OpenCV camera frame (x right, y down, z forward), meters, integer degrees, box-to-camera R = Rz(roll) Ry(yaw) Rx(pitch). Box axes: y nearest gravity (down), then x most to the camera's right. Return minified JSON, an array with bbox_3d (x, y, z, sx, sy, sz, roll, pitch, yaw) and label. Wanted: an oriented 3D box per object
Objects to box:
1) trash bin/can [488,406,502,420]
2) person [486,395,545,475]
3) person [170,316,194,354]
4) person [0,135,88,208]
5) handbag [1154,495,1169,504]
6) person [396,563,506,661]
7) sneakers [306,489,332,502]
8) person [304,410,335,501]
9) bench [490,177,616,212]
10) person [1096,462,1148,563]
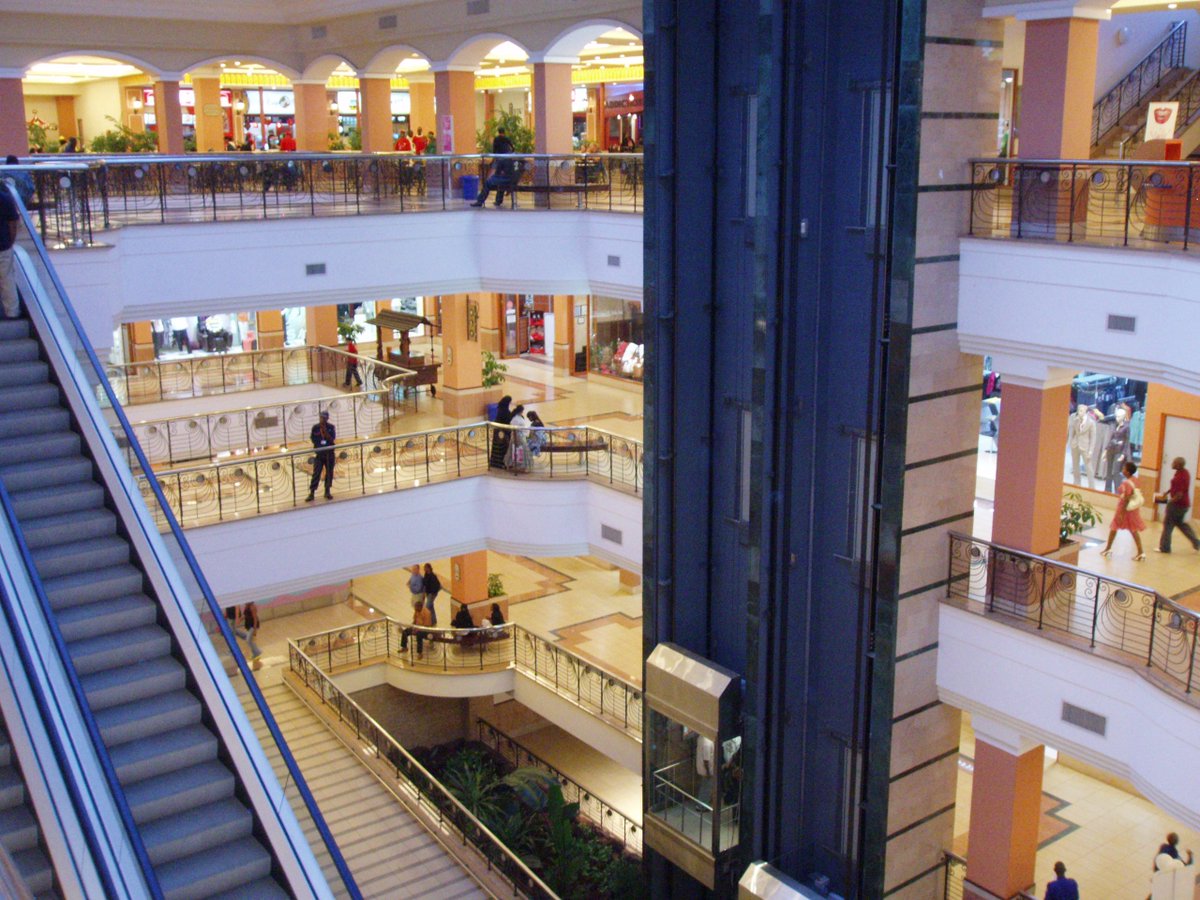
[{"bbox_3d":[-2.031,-0.715,19.812,0.266,0.286,0.270,-3,15,-16],"label":"trash bin/can"},{"bbox_3d":[-1.592,-0.238,19.061,1.167,1.220,0.846,19,35,30],"label":"person"},{"bbox_3d":[-12.409,-3.418,30.318,0.494,0.968,0.998,-7,19,-10],"label":"person"},{"bbox_3d":[-7.926,-3.846,14.374,0.809,0.375,1.074,-20,34,-35],"label":"person"},{"bbox_3d":[9.359,0.815,16.989,0.122,0.114,0.172,-44,47,-15],"label":"handbag"},{"bbox_3d":[-3.357,3.594,21.196,1.573,1.049,2.046,-17,28,-39],"label":"person"},{"bbox_3d":[-4.630,0.759,16.878,0.446,0.172,0.152,-13,20,-24],"label":"sneakers"},{"bbox_3d":[-4.717,0.175,17.239,0.584,1.055,1.251,-9,19,-14],"label":"person"},{"bbox_3d":[-0.744,-4.638,18.879,2.181,0.490,0.251,4,20,22],"label":"bench"},{"bbox_3d":[7.629,0.800,14.720,0.533,1.628,1.314,6,21,28],"label":"person"}]
